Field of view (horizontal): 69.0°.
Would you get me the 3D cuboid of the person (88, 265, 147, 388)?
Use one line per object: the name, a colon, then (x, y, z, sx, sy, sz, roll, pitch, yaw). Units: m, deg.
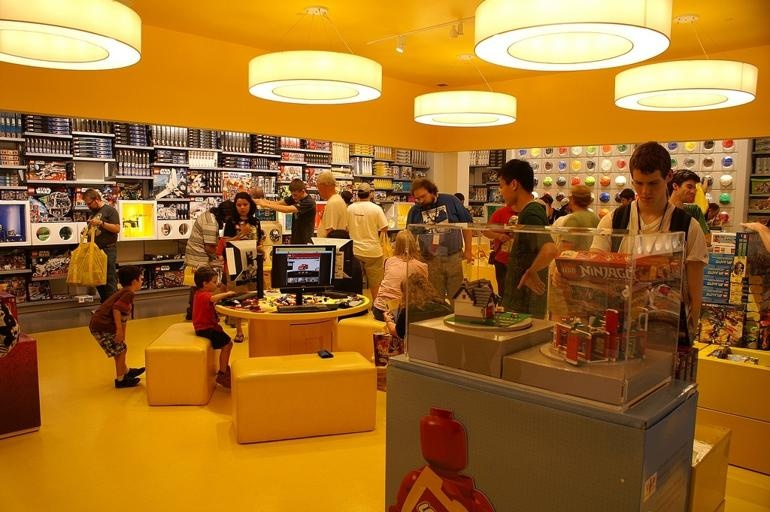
person: (-2.841, 0.740, 5.970, 0.511, 1.291, 0.491, -6, 14, -23)

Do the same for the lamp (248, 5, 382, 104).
lamp: (-0.731, -1.943, 5.254, 1.144, 0.948, 1.357, -6, 14, -24)

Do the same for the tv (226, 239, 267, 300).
tv: (-1.509, 0.161, 6.036, 0.387, 0.661, 0.384, -4, 2, 42)

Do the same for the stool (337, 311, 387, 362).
stool: (-0.336, 0.852, 6.371, 0.601, 0.331, 0.598, -3, 13, -44)

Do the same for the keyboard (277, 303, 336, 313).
keyboard: (-0.764, 0.509, 5.538, 0.593, 0.033, 0.214, -2, 13, -9)

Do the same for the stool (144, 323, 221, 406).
stool: (-2.205, 1.250, 6.002, 0.607, 0.524, 1.087, 1, -6, -18)

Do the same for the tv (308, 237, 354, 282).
tv: (-0.550, -0.031, 6.369, 0.532, 0.585, 0.437, 3, 19, 4)

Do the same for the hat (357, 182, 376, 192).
hat: (-0.270, -0.992, 8.188, 0.289, 0.134, 0.424, 5, 8, 16)

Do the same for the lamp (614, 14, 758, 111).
lamp: (2.787, -1.885, 5.295, 1.286, 0.775, 1.274, -26, 30, -36)

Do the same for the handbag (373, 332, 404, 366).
handbag: (0.083, 0.962, 5.774, 0.348, 0.314, 0.197, -5, -11, 25)

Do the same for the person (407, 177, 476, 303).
person: (0.333, 0.016, 3.175, 0.386, 0.895, 0.275, -8, 3, -3)

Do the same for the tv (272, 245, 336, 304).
tv: (-0.833, 0.168, 5.718, 0.620, 0.598, 0.197, 1, 1, -16)

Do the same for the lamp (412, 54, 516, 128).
lamp: (0.894, -1.676, 6.258, 1.076, 0.413, 1.053, 3, 13, 13)

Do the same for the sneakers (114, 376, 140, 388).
sneakers: (-2.754, 1.339, 6.001, 0.262, 0.117, 0.103, 0, 1, -22)

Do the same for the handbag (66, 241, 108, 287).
handbag: (-4.047, 0.111, 7.637, 0.663, 0.861, 0.361, 1, 6, -25)
